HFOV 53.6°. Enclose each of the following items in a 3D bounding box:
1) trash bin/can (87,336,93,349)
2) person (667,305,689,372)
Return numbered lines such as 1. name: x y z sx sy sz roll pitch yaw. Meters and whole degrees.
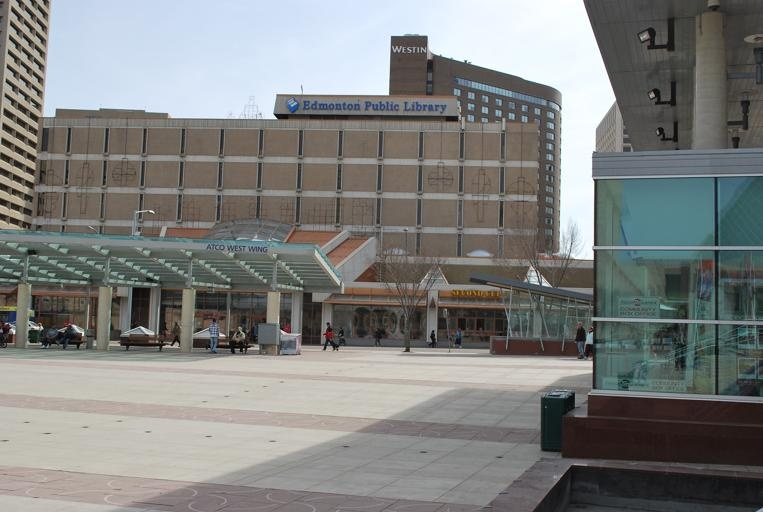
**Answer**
1. trash bin/can: -16.467 4.812 42.260 0.370 0.797 0.851 8 -14 -23
2. person: 6.249 1.780 15.972 0.235 0.954 0.327 -14 22 -12
